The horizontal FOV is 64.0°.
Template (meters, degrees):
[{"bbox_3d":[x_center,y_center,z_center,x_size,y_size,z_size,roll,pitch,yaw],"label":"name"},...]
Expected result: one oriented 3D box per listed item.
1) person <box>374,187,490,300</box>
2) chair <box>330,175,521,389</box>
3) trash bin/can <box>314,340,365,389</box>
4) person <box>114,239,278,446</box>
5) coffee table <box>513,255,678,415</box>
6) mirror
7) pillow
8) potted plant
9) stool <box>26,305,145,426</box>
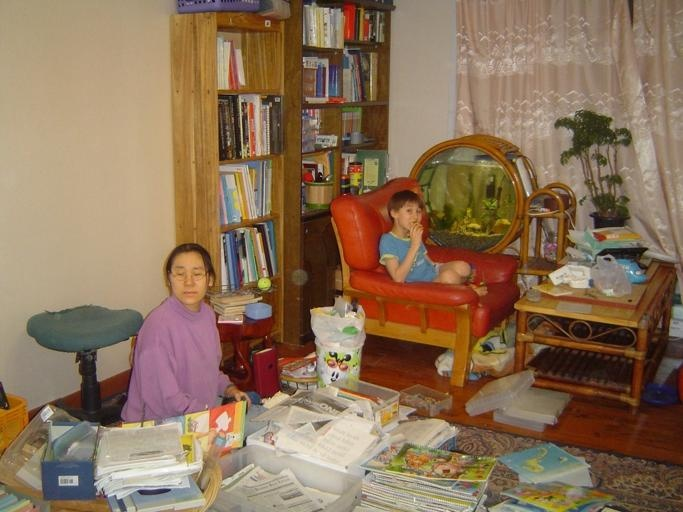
[{"bbox_3d":[0.676,-0.072,3.631,0.834,0.811,0.580,-6,-6,23],"label":"person"},{"bbox_3d":[0.594,0.054,4.094,1.366,1.372,1.231,6,16,30],"label":"chair"},{"bbox_3d":[-0.029,0.585,3.045,0.264,0.279,0.256,0,5,-5],"label":"trash bin/can"},{"bbox_3d":[-0.577,0.386,2.356,0.667,0.837,0.602,2,12,-18],"label":"person"},{"bbox_3d":[1.691,0.401,3.568,0.714,0.552,1.193,7,19,33],"label":"coffee table"},{"bbox_3d":[1.168,-0.486,4.488,1.111,0.999,0.663,12,21,41],"label":"mirror"},{"bbox_3d":[0.310,-0.180,3.893,0.309,0.663,0.913,7,22,39],"label":"pillow"},{"bbox_3d":[1.911,-0.663,4.145,0.547,0.868,0.672,6,16,27],"label":"potted plant"},{"bbox_3d":[-1.285,0.562,2.746,0.456,0.468,0.449,-4,4,-32],"label":"stool"}]
